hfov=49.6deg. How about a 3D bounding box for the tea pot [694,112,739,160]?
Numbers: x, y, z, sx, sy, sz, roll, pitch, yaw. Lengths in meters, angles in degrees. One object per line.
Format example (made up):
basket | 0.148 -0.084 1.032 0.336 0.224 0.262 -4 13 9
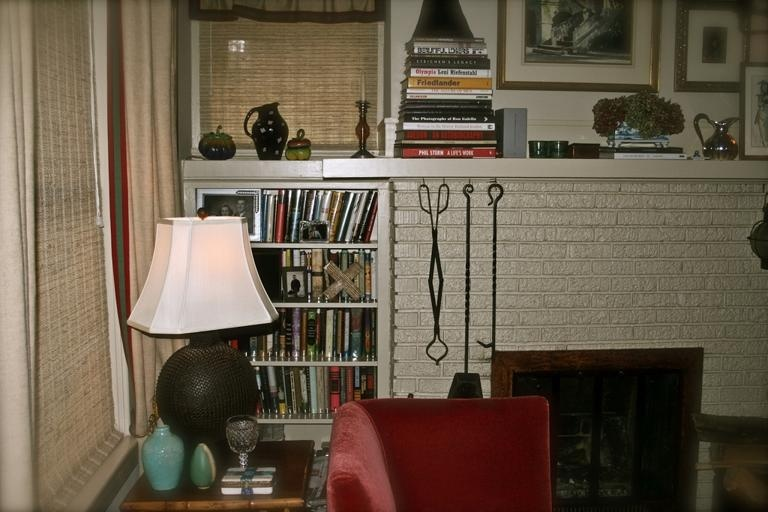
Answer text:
tea pot | 1.616 -0.586 4.086 0.271 0.290 0.201 1 1 12

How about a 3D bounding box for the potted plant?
potted plant | 1.189 -0.634 3.912 0.321 0.184 0.249 0 2 0

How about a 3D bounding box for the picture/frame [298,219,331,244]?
picture/frame | -0.359 -0.127 4.208 0.124 0.100 0.016 1 1 0

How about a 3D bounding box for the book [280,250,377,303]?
book | -0.321 0.097 4.151 0.341 0.324 0.080 0 -1 -1

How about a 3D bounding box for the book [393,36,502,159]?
book | 0.271 -0.725 3.947 0.493 0.618 0.513 0 1 -7

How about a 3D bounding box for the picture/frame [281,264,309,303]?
picture/frame | -0.465 0.137 4.249 0.198 0.259 0.019 -1 5 -9

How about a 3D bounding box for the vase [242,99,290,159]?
vase | -0.569 -0.614 4.048 0.280 0.326 0.243 -5 8 -15

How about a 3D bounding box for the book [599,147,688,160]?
book | 1.212 -0.488 3.907 0.387 0.054 0.088 3 6 13

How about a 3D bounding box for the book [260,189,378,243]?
book | -0.329 -0.211 4.322 0.464 0.307 0.106 3 10 0

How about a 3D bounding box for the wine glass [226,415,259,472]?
wine glass | -0.608 0.771 3.503 0.129 0.242 0.238 0 6 -11

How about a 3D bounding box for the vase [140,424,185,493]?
vase | -0.918 0.839 3.471 0.173 0.238 0.173 0 6 35

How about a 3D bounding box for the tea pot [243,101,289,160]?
tea pot | -0.580 -0.610 4.055 0.201 0.285 0.143 0 6 -8

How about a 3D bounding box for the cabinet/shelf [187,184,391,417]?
cabinet/shelf | -0.462 0.172 3.951 1.165 1.343 0.392 1 2 -7
